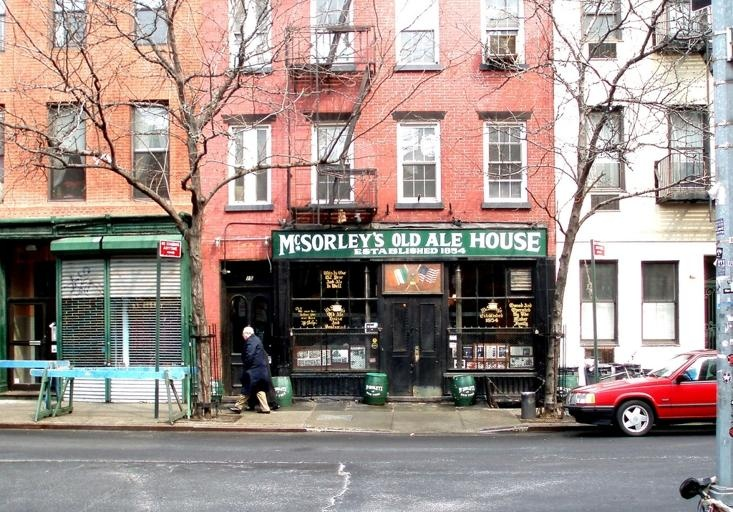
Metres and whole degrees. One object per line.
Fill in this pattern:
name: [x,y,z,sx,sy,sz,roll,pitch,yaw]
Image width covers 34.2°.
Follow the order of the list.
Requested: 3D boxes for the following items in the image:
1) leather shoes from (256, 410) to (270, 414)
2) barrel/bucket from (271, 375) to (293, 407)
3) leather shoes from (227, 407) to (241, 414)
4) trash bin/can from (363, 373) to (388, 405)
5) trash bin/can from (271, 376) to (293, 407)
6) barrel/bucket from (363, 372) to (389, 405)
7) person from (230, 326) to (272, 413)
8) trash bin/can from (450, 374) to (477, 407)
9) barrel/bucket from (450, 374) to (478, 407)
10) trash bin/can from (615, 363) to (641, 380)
leather shoes: [-2.728,4.091,31.347,0.341,0.137,0.112,4,-4,12]
barrel/bucket: [-2.274,3.666,32.208,0.712,0.665,0.701,-1,-3,0]
leather shoes: [-3.477,4.050,31.476,0.320,0.133,0.125,0,-8,42]
trash bin/can: [0.199,3.654,32.829,0.770,0.756,0.758,2,-4,43]
trash bin/can: [-2.271,3.647,32.214,0.720,0.698,0.709,-4,-10,8]
barrel/bucket: [0.222,3.656,32.862,1.010,0.760,0.995,4,0,0]
person: [-3.004,3.017,31.408,0.909,2.277,0.533,-2,-6,-4]
trash bin/can: [2.640,3.649,32.456,0.791,0.739,0.748,-1,-7,10]
barrel/bucket: [2.648,3.654,32.460,0.765,0.923,0.843,-1,-7,-6]
trash bin/can: [6.932,3.060,31.640,0.476,0.254,0.570,-5,-9,38]
